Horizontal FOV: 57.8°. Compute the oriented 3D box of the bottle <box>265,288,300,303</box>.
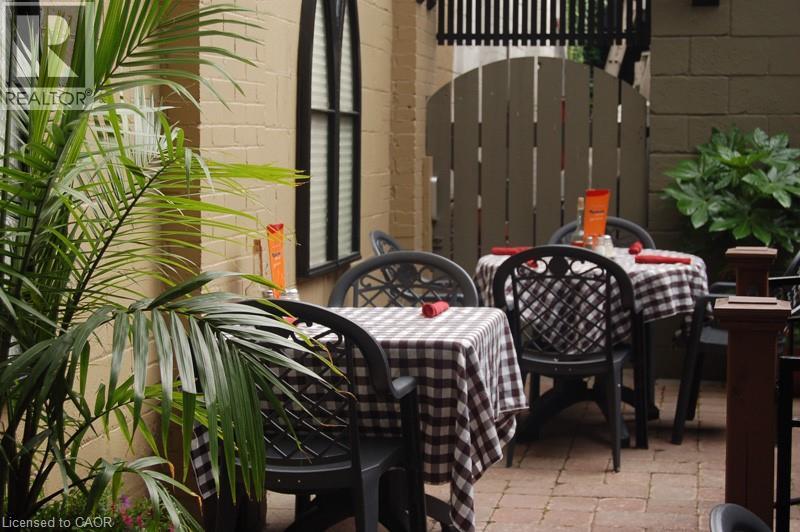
[{"bbox_3d":[-0.505,0.125,3.190,0.131,0.051,0.105,1,5,-2],"label":"bottle"}]
